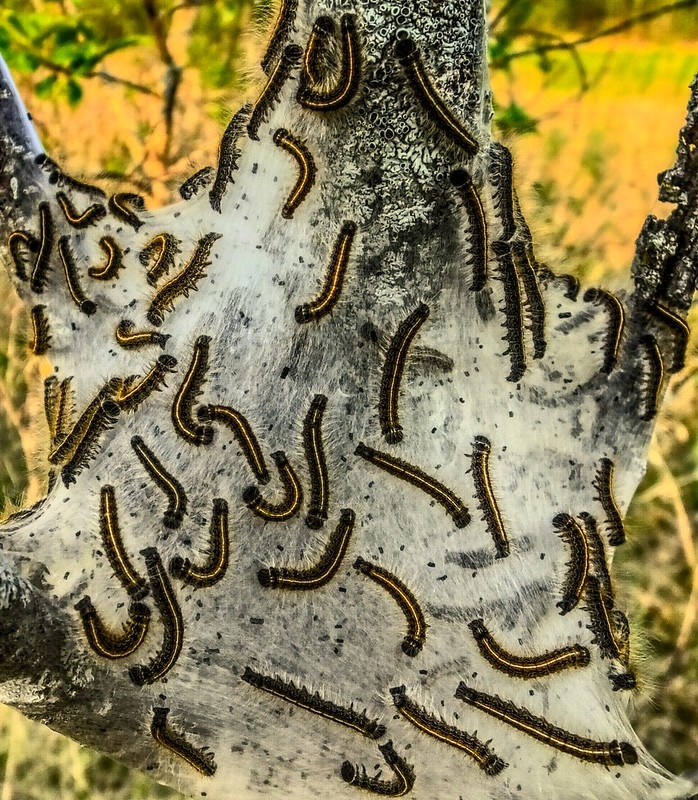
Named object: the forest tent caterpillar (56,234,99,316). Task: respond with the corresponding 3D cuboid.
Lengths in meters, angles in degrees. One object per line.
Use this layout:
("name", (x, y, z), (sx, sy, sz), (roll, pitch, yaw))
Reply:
("forest tent caterpillar", (-1.657, -0.749, 9.541), (0.114, 0.526, 0.155), (-19, -4, 12))

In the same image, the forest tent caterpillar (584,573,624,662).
("forest tent caterpillar", (1.511, 1.280, 9.472), (0.112, 0.527, 0.178), (-18, 4, -34))

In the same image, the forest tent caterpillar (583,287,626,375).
("forest tent caterpillar", (1.558, -0.443, 9.539), (0.217, 0.442, 0.111), (6, 4, 7))

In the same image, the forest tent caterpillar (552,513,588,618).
("forest tent caterpillar", (1.302, 0.964, 9.439), (0.251, 0.575, 0.157), (20, -12, -23))

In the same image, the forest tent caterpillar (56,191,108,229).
("forest tent caterpillar", (-1.598, -1.142, 9.586), (0.210, 0.258, 0.068), (-29, -7, -23))

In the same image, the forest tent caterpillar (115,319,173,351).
("forest tent caterpillar", (-1.257, -0.389, 9.508), (0.246, 0.159, 0.076), (4, -4, 9))

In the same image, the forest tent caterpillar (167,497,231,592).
("forest tent caterpillar", (-0.829, 0.859, 9.455), (0.354, 0.457, 0.104), (-10, -12, 9))

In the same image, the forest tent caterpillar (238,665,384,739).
("forest tent caterpillar", (-0.211, 1.795, 9.444), (0.912, 0.166, 0.062), (18, -11, 1))

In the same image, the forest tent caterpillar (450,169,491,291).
("forest tent caterpillar", (0.717, -1.017, 9.380), (0.179, 0.715, 0.086), (-11, 8, -33))

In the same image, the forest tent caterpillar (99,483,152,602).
("forest tent caterpillar", (-1.382, 0.819, 9.473), (0.215, 0.712, 0.184), (-8, -17, -32))

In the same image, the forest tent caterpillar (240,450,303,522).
("forest tent caterpillar", (-0.443, 0.495, 9.475), (0.358, 0.411, 0.109), (10, -12, 27))

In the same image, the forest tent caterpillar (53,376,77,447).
("forest tent caterpillar", (-1.719, 0.058, 9.601), (0.108, 0.438, 0.059), (-2, -12, 26))

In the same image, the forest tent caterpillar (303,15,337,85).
("forest tent caterpillar", (-0.176, -2.010, 9.190), (0.133, 0.401, 0.130), (7, 21, -12))

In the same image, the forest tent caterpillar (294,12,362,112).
("forest tent caterpillar", (-0.111, -1.947, 9.123), (0.329, 0.519, 0.096), (5, 10, 24))

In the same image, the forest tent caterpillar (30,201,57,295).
("forest tent caterpillar", (-1.850, -0.917, 9.555), (0.128, 0.496, 0.067), (3, -1, 12))

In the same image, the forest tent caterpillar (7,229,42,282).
("forest tent caterpillar", (-1.971, -0.894, 9.568), (0.169, 0.267, 0.072), (-7, 10, 6))

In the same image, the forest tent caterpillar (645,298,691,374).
("forest tent caterpillar", (1.924, -0.430, 9.426), (0.180, 0.472, 0.165), (-26, -4, 24))

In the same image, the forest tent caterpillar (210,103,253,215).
("forest tent caterpillar", (-0.714, -1.479, 9.515), (0.151, 0.718, 0.080), (13, 11, 9))

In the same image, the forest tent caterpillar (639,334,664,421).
("forest tent caterpillar", (1.820, -0.151, 9.498), (0.124, 0.486, 0.104), (-1, 7, -5))

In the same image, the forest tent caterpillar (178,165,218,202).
("forest tent caterpillar", (-0.918, -1.332, 9.640), (0.089, 0.240, 0.142), (46, -1, -11))

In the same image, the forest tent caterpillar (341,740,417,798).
("forest tent caterpillar", (0.211, 2.210, 9.594), (0.348, 0.335, 0.114), (30, 6, 10))

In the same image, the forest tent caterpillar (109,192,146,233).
("forest tent caterpillar", (-1.338, -1.163, 9.635), (0.185, 0.238, 0.069), (-25, -9, -30))

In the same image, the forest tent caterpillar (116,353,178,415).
("forest tent caterpillar", (-1.199, -0.113, 9.566), (0.487, 0.181, 0.176), (-43, 0, -16))

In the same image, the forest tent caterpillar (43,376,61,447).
("forest tent caterpillar", (-1.809, 0.043, 9.652), (0.080, 0.504, 0.068), (-5, -6, 33))

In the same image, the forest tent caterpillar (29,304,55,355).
("forest tent caterpillar", (-1.873, -0.425, 9.627), (0.104, 0.347, 0.089), (1, -4, -37))

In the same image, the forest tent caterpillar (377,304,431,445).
("forest tent caterpillar", (0.303, -0.182, 9.479), (0.220, 0.828, 0.226), (14, -11, 2))

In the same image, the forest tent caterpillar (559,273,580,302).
("forest tent caterpillar", (1.327, -0.686, 9.539), (0.120, 0.154, 0.076), (1, 8, 10))

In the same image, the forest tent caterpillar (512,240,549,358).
("forest tent caterpillar", (1.084, -0.601, 9.436), (0.143, 0.714, 0.087), (-5, 0, -11))

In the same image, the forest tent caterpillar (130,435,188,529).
("forest tent caterpillar", (-1.106, 0.489, 9.537), (0.238, 0.607, 0.157), (-27, -1, 15))

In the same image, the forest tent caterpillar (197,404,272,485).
("forest tent caterpillar", (-0.671, 0.245, 9.378), (0.244, 0.564, 0.113), (-16, 17, 24))
